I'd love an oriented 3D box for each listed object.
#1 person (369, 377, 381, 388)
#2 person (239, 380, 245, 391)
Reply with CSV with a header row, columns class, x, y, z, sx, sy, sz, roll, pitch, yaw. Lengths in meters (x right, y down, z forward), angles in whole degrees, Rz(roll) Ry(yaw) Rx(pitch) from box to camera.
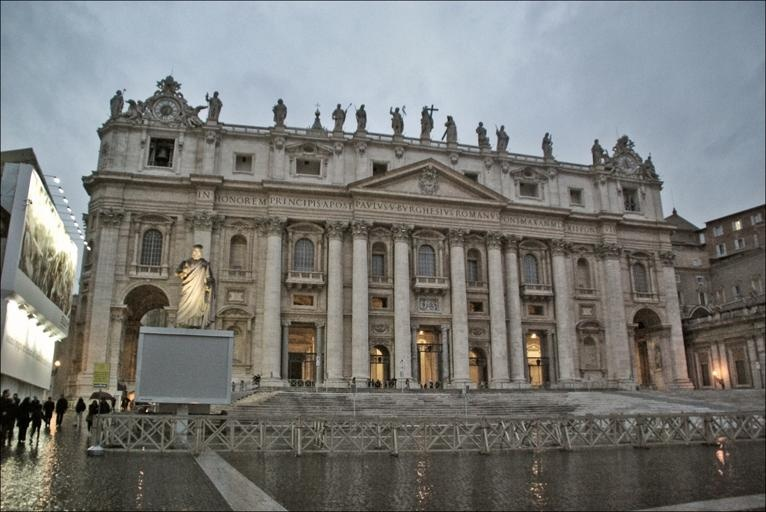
class,x,y,z,sx,sy,sz,roll,pitch,yaw
person,-0.588,9.951,49.623,0.979,0.385,0.948,4,-15,-3
person,-10.317,9.517,46.458,0.349,0.803,1.546,4,-20,-11
